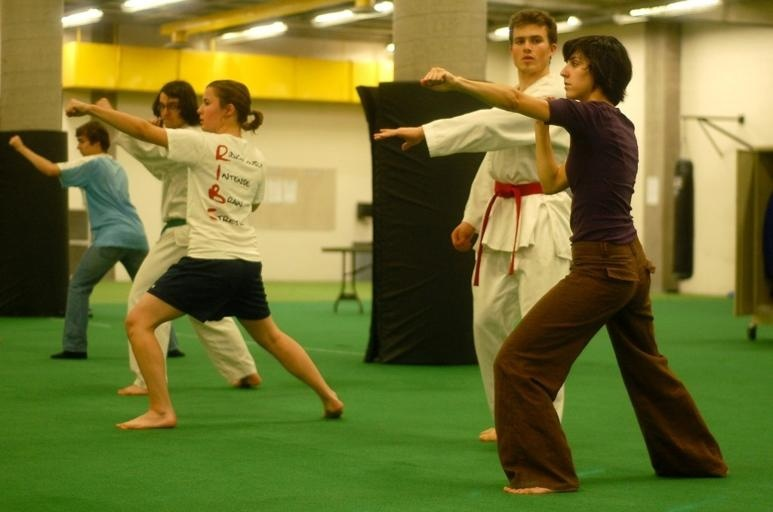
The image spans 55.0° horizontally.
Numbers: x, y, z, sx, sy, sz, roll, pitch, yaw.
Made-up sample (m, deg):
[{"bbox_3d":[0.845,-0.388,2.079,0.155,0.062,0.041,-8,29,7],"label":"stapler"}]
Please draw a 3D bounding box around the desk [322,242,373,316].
[{"bbox_3d":[-0.838,0.466,14.523,1.287,1.190,1.455,-3,3,20],"label":"desk"}]

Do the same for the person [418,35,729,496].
[{"bbox_3d":[0.943,0.033,3.633,1.293,2.220,0.408,-1,5,-20],"label":"person"}]
